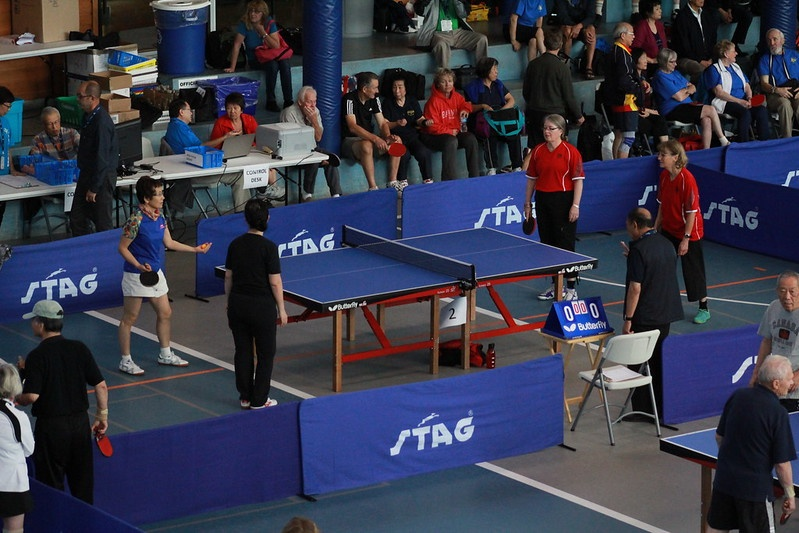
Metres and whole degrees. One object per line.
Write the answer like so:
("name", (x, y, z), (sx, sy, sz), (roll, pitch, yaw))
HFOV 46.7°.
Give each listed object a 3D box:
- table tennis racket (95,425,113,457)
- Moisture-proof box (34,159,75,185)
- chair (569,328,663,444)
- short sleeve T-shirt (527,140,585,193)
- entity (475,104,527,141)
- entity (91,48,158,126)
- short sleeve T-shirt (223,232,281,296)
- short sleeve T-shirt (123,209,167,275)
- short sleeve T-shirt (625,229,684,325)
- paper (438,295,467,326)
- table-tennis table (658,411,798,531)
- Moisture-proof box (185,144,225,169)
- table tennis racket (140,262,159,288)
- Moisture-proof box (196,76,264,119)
("table tennis racket", (-2.709, 1.588, 8.347), (0.063, 0.269, 0.133), (-29, -10, 41))
("Moisture-proof box", (-5.188, -1.412, 13.902), (0.454, 0.149, 0.444), (-11, 17, -39))
("chair", (2.542, 1.334, 10.806), (0.858, 1.265, 0.893), (-1, 5, -15))
("short sleeve T-shirt", (2.246, -1.426, 13.451), (1.137, 0.920, 0.641), (4, 9, 20))
("entity", (1.982, -2.779, 17.665), (1.024, 0.682, 0.509), (-10, 22, -20))
("entity", (-4.915, -3.335, 16.676), (1.230, 0.553, 1.650), (-9, 30, -23))
("short sleeve T-shirt", (-1.686, -0.001, 10.451), (0.739, 0.778, 0.456), (8, 18, 16))
("short sleeve T-shirt", (-3.107, -0.340, 11.254), (0.402, 0.803, 0.693), (7, 7, 31))
("short sleeve T-shirt", (3.040, 0.173, 11.026), (0.726, 1.141, 0.223), (-5, 11, -12))
("paper", (0.674, 0.581, 11.818), (0.324, 0.350, 0.174), (15, 19, 21))
("table-tennis table", (3.223, 1.985, 8.919), (1.282, 0.778, 1.032), (-13, 15, -35))
("Moisture-proof box", (-3.175, -1.787, 14.861), (0.347, 0.202, 0.525), (-9, 20, -36))
("table tennis racket", (-3.015, 0.152, 11.045), (0.215, 0.218, 0.113), (-8, 13, -26))
("Moisture-proof box", (-3.206, -3.216, 17.380), (0.979, 0.612, 0.749), (-8, 21, -19))
